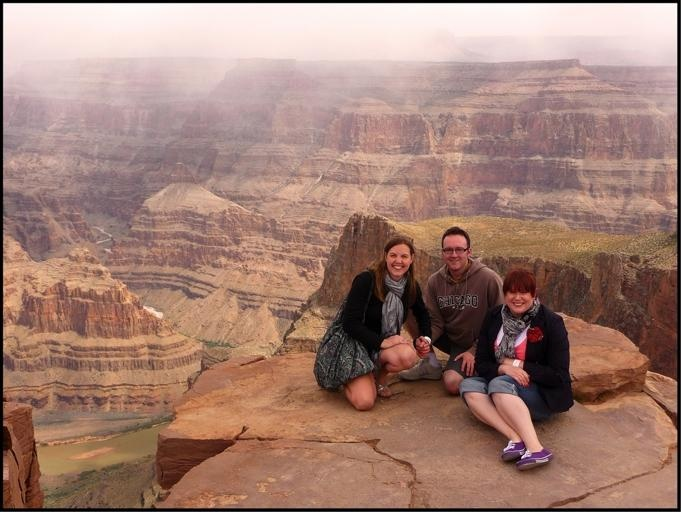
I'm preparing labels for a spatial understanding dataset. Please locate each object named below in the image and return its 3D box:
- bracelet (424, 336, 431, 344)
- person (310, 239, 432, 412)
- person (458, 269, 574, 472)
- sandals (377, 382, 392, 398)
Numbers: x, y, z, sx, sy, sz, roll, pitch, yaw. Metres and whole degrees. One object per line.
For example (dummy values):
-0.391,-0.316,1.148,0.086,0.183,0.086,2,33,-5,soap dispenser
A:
1.145,1.100,7.502,0.080,0.034,0.096,24,-20,48,bracelet
0.421,0.848,7.455,1.520,2.184,0.648,-3,4,7,person
1.866,1.152,6.272,1.156,1.985,1.041,-1,4,27,person
0.590,1.826,7.706,0.096,0.225,0.284,-18,-37,-6,sandals
